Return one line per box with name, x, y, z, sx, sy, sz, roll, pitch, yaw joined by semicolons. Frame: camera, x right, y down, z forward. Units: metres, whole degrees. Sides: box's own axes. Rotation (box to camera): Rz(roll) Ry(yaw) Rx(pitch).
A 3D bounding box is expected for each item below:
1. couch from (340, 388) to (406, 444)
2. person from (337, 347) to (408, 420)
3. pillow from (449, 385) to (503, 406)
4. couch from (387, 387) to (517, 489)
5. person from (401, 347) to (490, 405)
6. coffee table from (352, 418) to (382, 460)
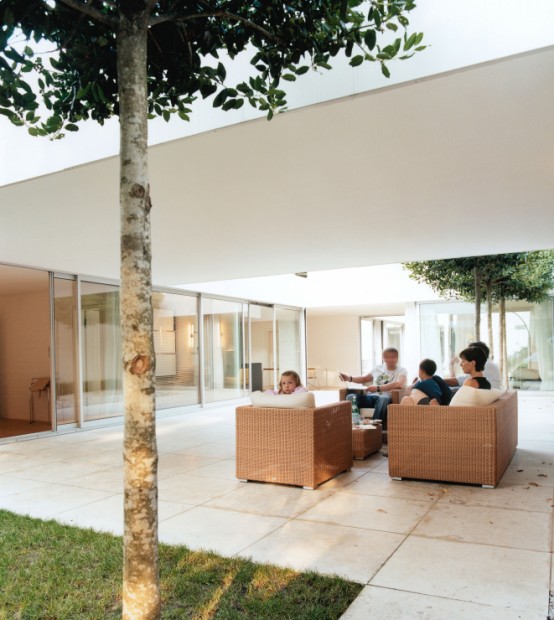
couch;1.249;1.438;7.322;0.660;0.791;0.646;10;-24;18
person;1.398;1.162;7.945;0.889;1.270;0.713;11;-9;-17
pillow;1.758;0.760;4.947;0.532;0.168;0.272;1;-5;-21
couch;1.663;1.216;5.287;0.951;0.712;1.126;-4;-6;30
person;1.624;0.659;5.409;0.479;0.582;0.983;-1;-6;-25
coffee table;0.999;1.491;6.309;0.315;0.243;0.582;-2;-2;27
